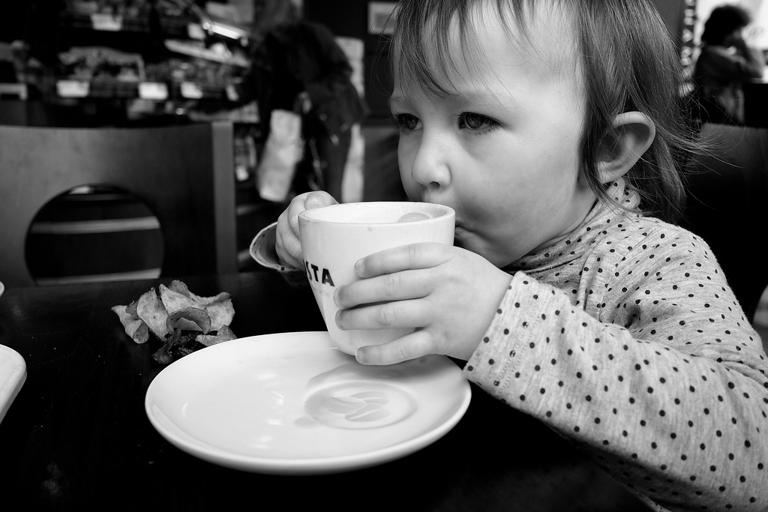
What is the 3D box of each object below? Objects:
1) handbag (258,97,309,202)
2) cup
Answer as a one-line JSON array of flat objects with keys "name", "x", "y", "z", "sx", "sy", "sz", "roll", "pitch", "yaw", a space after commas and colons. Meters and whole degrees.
[{"name": "handbag", "x": -0.417, "y": -0.431, "z": 2.531, "sx": 0.183, "sy": 0.372, "sz": 0.089, "roll": 7, "pitch": 5, "yaw": -33}, {"name": "cup", "x": -0.021, "y": -0.012, "z": 0.996, "sx": 0.241, "sy": 0.224, "sz": 0.241, "roll": 0, "pitch": 11, "yaw": 0}]
